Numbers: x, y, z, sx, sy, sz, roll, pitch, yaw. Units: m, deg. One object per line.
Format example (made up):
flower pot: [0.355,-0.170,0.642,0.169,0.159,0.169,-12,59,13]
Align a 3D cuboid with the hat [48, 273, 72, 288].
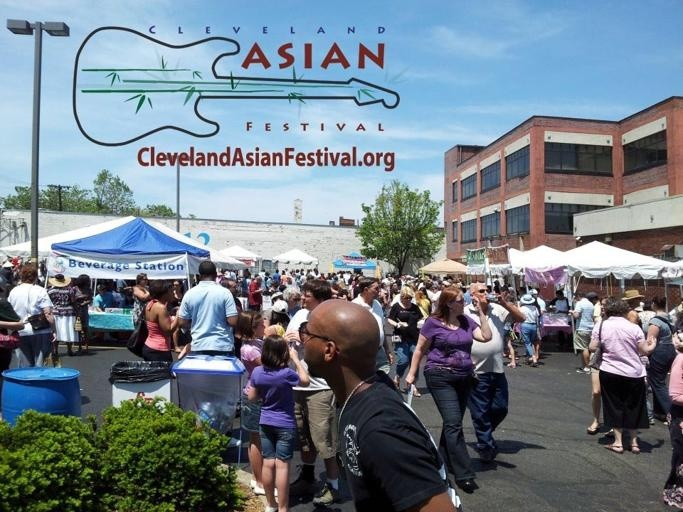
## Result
hat: [-6.418,0.560,15.512,0.381,0.127,0.428,18,19,15]

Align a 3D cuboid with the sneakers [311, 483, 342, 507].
sneakers: [-0.183,2.919,8.256,0.169,0.177,0.385,6,-10,30]

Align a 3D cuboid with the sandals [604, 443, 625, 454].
sandals: [3.935,2.756,9.788,0.199,0.072,0.098,17,8,30]

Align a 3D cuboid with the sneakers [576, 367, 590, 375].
sneakers: [5.380,2.556,15.143,0.296,0.145,0.109,4,-9,20]

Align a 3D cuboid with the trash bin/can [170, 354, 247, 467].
trash bin/can: [-1.714,2.028,8.770,0.919,1.490,1.822,1,-1,-9]

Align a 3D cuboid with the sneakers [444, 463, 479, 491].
sneakers: [1.573,2.829,8.581,0.318,0.255,0.211,1,-1,-2]

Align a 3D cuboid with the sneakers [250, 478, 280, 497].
sneakers: [-0.949,2.821,8.307,0.461,0.196,0.159,2,-4,12]

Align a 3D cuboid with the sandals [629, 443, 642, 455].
sandals: [4.210,2.777,9.759,0.148,0.145,0.091,-1,-1,0]

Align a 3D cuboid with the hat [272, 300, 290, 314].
hat: [-0.885,0.738,9.954,0.216,0.115,0.320,0,3,-7]

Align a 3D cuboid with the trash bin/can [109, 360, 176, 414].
trash bin/can: [-2.583,1.610,8.731,0.793,0.588,0.566,2,-11,-12]

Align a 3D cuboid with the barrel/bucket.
barrel/bucket: [-3.751,1.668,8.386,0.735,0.754,0.716,1,-2,0]

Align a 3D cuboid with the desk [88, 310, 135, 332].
desk: [-5.823,1.628,17.206,0.940,0.310,0.940,1,-1,0]
